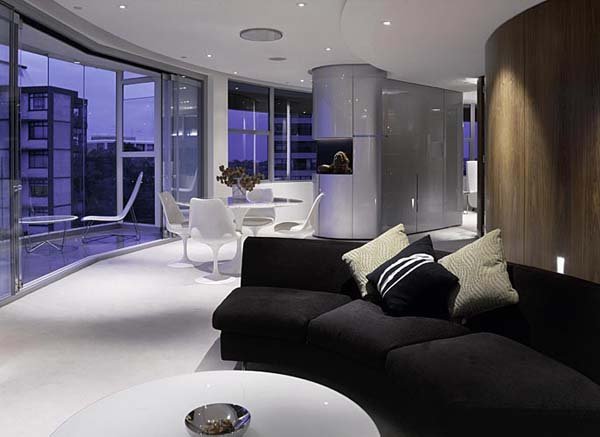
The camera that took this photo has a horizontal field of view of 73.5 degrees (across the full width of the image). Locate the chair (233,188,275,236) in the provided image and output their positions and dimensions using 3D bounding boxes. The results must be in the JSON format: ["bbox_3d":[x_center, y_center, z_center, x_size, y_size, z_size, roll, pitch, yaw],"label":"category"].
[{"bbox_3d":[-0.672,-0.101,6.477,0.633,1.044,0.755,1,0,6],"label":"chair"}]

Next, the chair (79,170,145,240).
[{"bbox_3d":[-3.705,-0.248,8.074,1.535,1.809,1.092,1,5,-24],"label":"chair"}]

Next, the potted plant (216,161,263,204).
[{"bbox_3d":[-0.833,-0.433,5.936,0.687,0.565,0.750,-3,8,-26],"label":"potted plant"}]

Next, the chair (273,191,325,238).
[{"bbox_3d":[-0.106,-0.052,5.938,0.807,0.864,0.601,5,5,11],"label":"chair"}]

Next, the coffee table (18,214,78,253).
[{"bbox_3d":[-4.106,0.131,6.563,0.803,0.551,0.855,-2,6,-18],"label":"coffee table"}]
